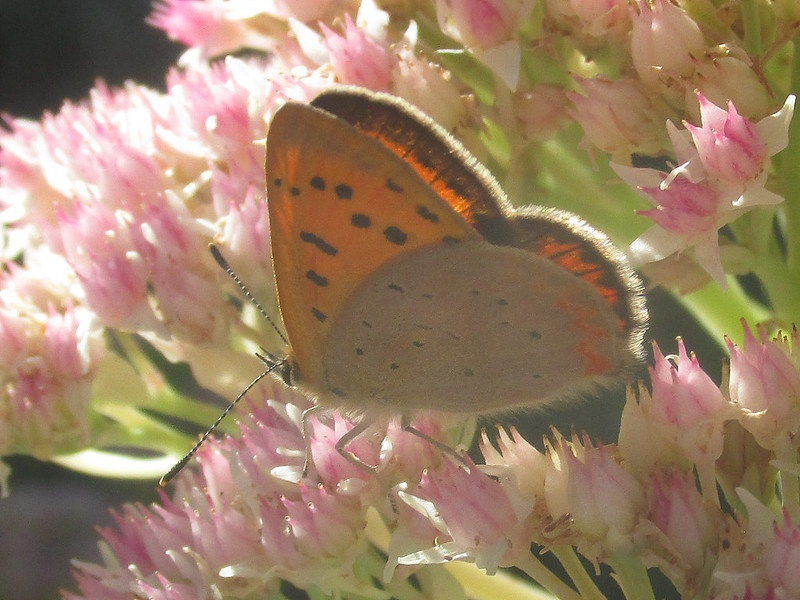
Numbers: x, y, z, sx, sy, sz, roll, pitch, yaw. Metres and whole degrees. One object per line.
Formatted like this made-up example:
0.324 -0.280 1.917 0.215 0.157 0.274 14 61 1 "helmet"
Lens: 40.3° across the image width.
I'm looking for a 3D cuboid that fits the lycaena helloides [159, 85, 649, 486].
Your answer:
0.008 -0.019 1.307 0.428 0.308 0.434 -30 82 -2 "lycaena helloides"
